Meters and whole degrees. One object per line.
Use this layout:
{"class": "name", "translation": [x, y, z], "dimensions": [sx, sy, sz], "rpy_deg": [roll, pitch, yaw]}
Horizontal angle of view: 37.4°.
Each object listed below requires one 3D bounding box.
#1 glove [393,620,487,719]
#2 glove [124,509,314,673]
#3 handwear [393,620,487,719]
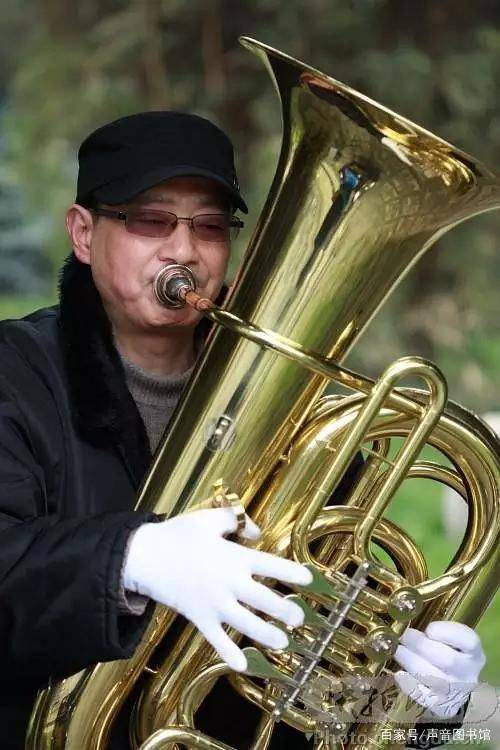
{"class": "glove", "translation": [0.279, 0.436, 1.090], "dimensions": [0.127, 0.147, 0.052], "rpy_deg": [-7, 18, -15]}
{"class": "glove", "translation": [-0.001, 0.280, 1.024], "dimensions": [0.289, 0.150, 0.077], "rpy_deg": [25, 7, 13]}
{"class": "handwear", "translation": [0.281, 0.435, 1.091], "dimensions": [0.127, 0.147, 0.052], "rpy_deg": [-7, 18, -15]}
